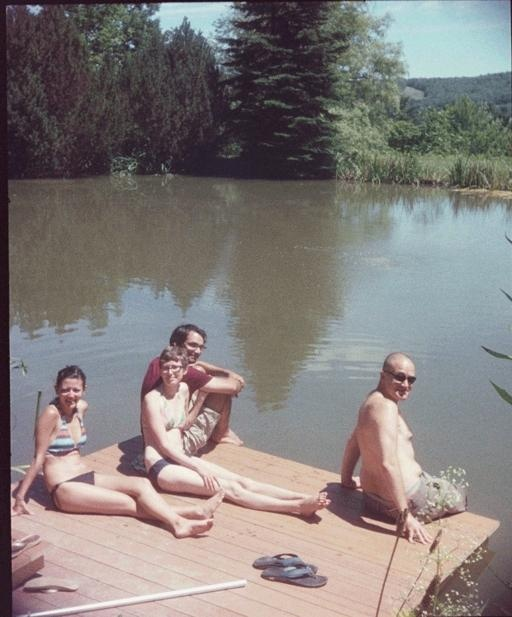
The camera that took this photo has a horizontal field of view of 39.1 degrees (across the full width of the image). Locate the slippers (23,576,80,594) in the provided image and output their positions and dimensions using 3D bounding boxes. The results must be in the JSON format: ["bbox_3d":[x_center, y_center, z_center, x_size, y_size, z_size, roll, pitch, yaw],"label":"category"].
[{"bbox_3d":[-0.923,1.243,3.207,0.173,0.042,0.107,1,3,5],"label":"slippers"}]

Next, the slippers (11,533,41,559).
[{"bbox_3d":[-1.021,1.048,3.187,0.049,0.040,0.134,22,27,28],"label":"slippers"}]

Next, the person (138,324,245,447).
[{"bbox_3d":[-0.407,0.512,4.571,0.616,0.873,0.493,-11,18,-17],"label":"person"}]

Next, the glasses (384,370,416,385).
[{"bbox_3d":[0.748,0.357,3.757,0.156,0.057,0.147,8,13,11],"label":"glasses"}]

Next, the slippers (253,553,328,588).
[{"bbox_3d":[0.154,1.208,3.297,0.179,0.051,0.168,3,14,-7],"label":"slippers"}]

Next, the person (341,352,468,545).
[{"bbox_3d":[0.836,0.720,3.970,0.565,0.919,0.993,0,1,-17],"label":"person"}]

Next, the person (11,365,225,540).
[{"bbox_3d":[-0.724,0.722,3.738,1.013,0.814,0.503,6,3,13],"label":"person"}]

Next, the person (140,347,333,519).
[{"bbox_3d":[-0.154,0.667,3.976,0.996,0.855,0.376,6,2,19],"label":"person"}]
